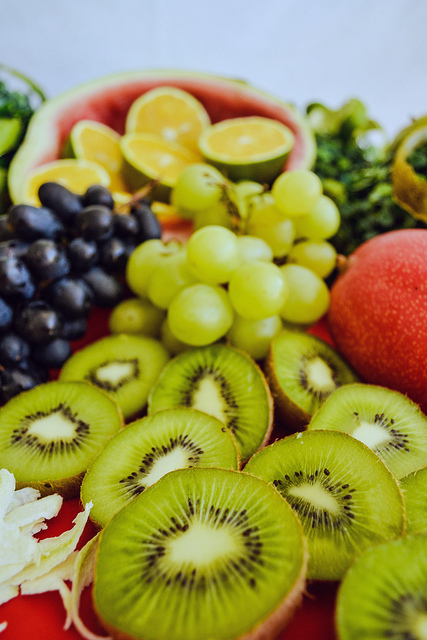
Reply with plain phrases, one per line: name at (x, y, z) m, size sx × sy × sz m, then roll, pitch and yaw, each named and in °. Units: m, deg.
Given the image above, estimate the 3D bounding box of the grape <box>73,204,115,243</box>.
grape at (-0.170, -0.136, 0.928) m, size 0.075 × 0.038 × 0.056 m, roll 11°, pitch 25°, yaw 21°

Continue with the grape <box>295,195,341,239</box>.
grape at (0.172, -0.158, 1.035) m, size 0.074 × 0.038 × 0.067 m, roll -19°, pitch 89°, yaw -9°

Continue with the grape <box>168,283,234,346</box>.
grape at (-0.016, -0.011, 0.943) m, size 0.096 × 0.073 × 0.073 m, roll -36°, pitch 63°, yaw -25°

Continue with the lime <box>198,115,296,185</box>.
lime at (0.052, -0.299, 1.096) m, size 0.142 × 0.068 × 0.131 m, roll -15°, pitch 54°, yaw -2°

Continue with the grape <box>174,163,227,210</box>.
grape at (-0.025, -0.224, 1.021) m, size 0.076 × 0.073 × 0.102 m, roll -1°, pitch 54°, yaw -4°

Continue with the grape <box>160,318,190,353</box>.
grape at (-0.068, 0.022, 1.019) m, size 0.054 × 0.057 × 0.052 m, roll 1°, pitch 17°, yaw 9°

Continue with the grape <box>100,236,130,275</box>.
grape at (-0.149, -0.099, 0.967) m, size 0.043 × 0.050 × 0.031 m, roll 18°, pitch 23°, yaw 33°

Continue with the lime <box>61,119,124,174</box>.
lime at (-0.217, -0.304, 1.124) m, size 0.109 × 0.042 × 0.109 m, roll -20°, pitch 81°, yaw -29°

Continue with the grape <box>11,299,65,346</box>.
grape at (-0.244, 0.006, 0.897) m, size 0.059 × 0.072 × 0.054 m, roll 2°, pitch 96°, yaw -4°

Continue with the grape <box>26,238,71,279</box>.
grape at (-0.227, -0.084, 0.877) m, size 0.036 × 0.062 × 0.044 m, roll -9°, pitch 78°, yaw 14°

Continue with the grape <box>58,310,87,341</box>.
grape at (-0.211, 0.009, 0.957) m, size 0.038 × 0.025 × 0.046 m, roll -3°, pitch 16°, yaw -14°

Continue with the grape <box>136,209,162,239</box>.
grape at (-0.100, -0.149, 0.991) m, size 0.015 × 0.042 × 0.043 m, roll -26°, pitch 15°, yaw 10°

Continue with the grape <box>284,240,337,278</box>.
grape at (0.159, -0.093, 1.068) m, size 0.076 × 0.055 × 0.052 m, roll 12°, pitch 73°, yaw -30°

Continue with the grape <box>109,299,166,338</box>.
grape at (-0.115, 0.012, 1.019) m, size 0.076 × 0.038 × 0.068 m, roll 1°, pitch 64°, yaw -19°

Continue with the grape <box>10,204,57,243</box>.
grape at (-0.252, -0.135, 0.885) m, size 0.060 × 0.036 × 0.044 m, roll 37°, pitch 69°, yaw 2°

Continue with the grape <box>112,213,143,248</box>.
grape at (-0.127, -0.136, 0.976) m, size 0.029 × 0.050 × 0.038 m, roll -25°, pitch 36°, yaw 18°

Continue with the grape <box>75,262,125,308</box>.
grape at (-0.166, -0.055, 0.963) m, size 0.075 × 0.042 × 0.042 m, roll 43°, pitch 44°, yaw -17°

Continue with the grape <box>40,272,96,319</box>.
grape at (-0.201, -0.032, 0.876) m, size 0.061 × 0.076 × 0.054 m, roll -4°, pitch 94°, yaw -19°

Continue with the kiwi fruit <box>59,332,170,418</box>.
kiwi fruit at (-0.162, 0.073, 1.019) m, size 0.145 × 0.183 × 0.054 m, roll -52°, pitch 43°, yaw 7°
